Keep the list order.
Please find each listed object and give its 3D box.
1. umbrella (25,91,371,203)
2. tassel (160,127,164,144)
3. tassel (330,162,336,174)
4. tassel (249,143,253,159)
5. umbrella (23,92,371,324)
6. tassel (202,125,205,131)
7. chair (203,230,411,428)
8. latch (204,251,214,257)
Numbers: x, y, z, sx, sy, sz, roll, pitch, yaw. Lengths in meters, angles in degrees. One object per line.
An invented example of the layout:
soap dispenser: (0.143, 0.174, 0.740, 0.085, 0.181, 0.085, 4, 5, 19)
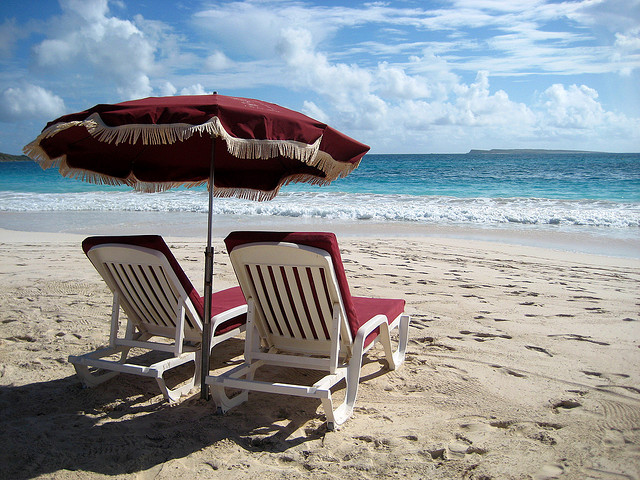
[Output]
umbrella: (-1.071, -0.746, 4.082, 2.337, 0.961, 1.983, -7, 15, -32)
tassel: (-1.085, -0.748, 3.301, 0.012, 0.051, 0.025, -7, 19, -26)
tassel: (0.106, -0.577, 3.808, 0.019, 0.086, 0.020, 37, 58, 1)
tassel: (-0.477, -0.637, 3.362, 0.018, 0.083, 0.023, 2, 18, 0)
umbrella: (-1.026, -0.290, 4.204, 2.811, 1.895, 1.560, 2, 15, 3)
tassel: (-0.791, -0.774, 3.284, 0.009, 0.025, 0.024, -5, 16, -21)
chair: (-0.045, 0.626, 4.236, 1.217, 1.593, 1.657, 10, 17, 28)
latch: (-0.945, 0.121, 4.099, 0.076, 0.030, 0.063, -1, -2, 9)
